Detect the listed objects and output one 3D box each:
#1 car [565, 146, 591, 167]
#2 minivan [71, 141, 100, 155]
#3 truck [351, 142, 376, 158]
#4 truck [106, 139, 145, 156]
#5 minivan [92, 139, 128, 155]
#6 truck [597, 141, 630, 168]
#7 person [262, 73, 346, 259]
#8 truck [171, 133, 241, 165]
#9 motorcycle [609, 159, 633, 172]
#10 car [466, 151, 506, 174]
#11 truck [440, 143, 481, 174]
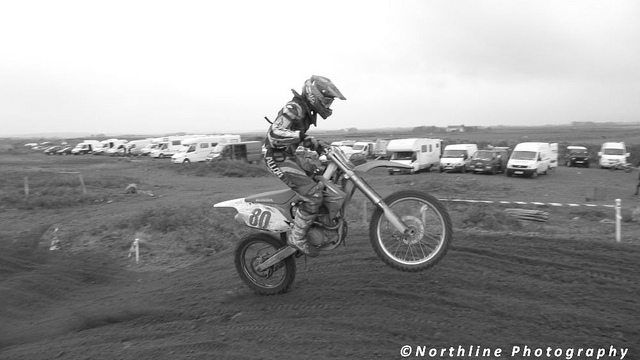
[{"bbox_3d":[27.492,-2.450,36.389,1.834,2.036,2.214,3,10,23],"label":"car"},{"bbox_3d":[-43.229,-5.956,62.866,2.879,1.507,4.502,3,3,44],"label":"minivan"},{"bbox_3d":[5.309,-4.080,44.030,2.566,1.098,3.164,2,1,33],"label":"truck"},{"bbox_3d":[-33.028,-5.415,58.333,5.633,1.616,3.234,-1,3,-43],"label":"truck"},{"bbox_3d":[-37.187,-5.744,59.964,6.412,1.902,2.421,-4,9,-33],"label":"minivan"},{"bbox_3d":[29.182,-2.481,34.208,2.989,1.687,4.377,0,0,34],"label":"truck"},{"bbox_3d":[-0.270,-0.221,5.798,1.178,3.098,0.800,-5,12,-18],"label":"person"},{"bbox_3d":[-11.722,-3.707,40.976,12.898,3.168,4.775,-1,2,42],"label":"truck"},{"bbox_3d":[28.364,-1.211,32.106,2.585,0.977,1.061,-5,11,21],"label":"motorcycle"},{"bbox_3d":[14.686,-1.716,29.611,3.693,1.175,2.194,-15,18,-41],"label":"car"},{"bbox_3d":[12.759,-2.327,31.051,2.609,1.509,4.467,14,30,37],"label":"truck"}]
